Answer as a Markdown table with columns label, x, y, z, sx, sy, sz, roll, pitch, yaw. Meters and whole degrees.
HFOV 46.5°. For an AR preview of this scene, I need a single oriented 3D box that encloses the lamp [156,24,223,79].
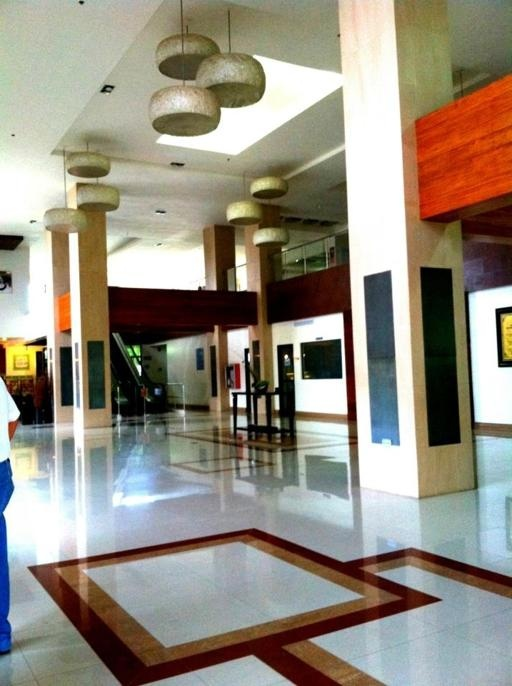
| label | x | y | z | sx | sy | sz | roll | pitch | yaw |
| --- | --- | --- | --- | --- | --- | --- | --- | --- | --- |
| lamp | -1.079 | -4.767 | 9.857 | 0.867 | 0.807 | 0.287 | -16 | -32 | -12 |

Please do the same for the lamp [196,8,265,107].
| label | x | y | z | sx | sy | sz | roll | pitch | yaw |
| --- | --- | --- | --- | --- | --- | --- | --- | --- | --- |
| lamp | -0.512 | -4.539 | 9.351 | 0.890 | 1.208 | 0.852 | 0 | -1 | 1 |

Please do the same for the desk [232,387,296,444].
| label | x | y | z | sx | sy | sz | roll | pitch | yaw |
| --- | --- | --- | --- | --- | --- | --- | --- | --- | --- |
| desk | 0.116 | 1.577 | 13.686 | 0.747 | 1.065 | 1.530 | 6 | -12 | -32 |

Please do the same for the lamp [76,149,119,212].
| label | x | y | z | sx | sy | sz | roll | pitch | yaw |
| --- | --- | --- | --- | --- | --- | --- | --- | --- | --- |
| lamp | -3.920 | -4.007 | 14.746 | 1.365 | 1.320 | 1.243 | 1 | -1 | -2 |

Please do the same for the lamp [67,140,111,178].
| label | x | y | z | sx | sy | sz | roll | pitch | yaw |
| --- | --- | --- | --- | --- | --- | --- | --- | --- | --- |
| lamp | -3.964 | -4.268 | 13.999 | 0.827 | 0.690 | 0.790 | -2 | 1 | -22 |
